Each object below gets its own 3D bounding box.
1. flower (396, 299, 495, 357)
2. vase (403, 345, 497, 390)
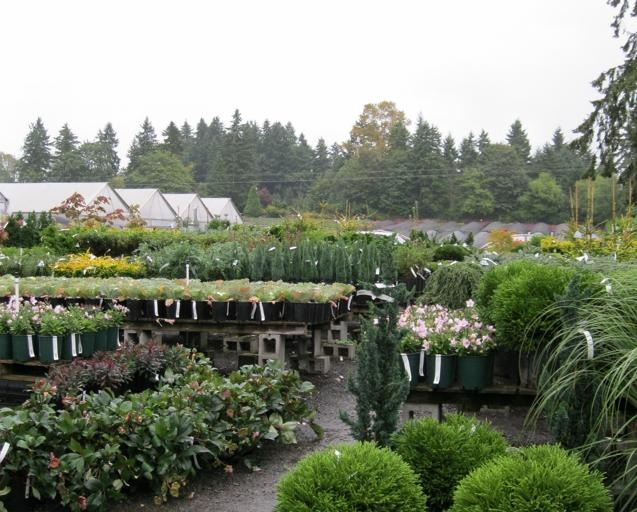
[{"bbox_3d":[1.079,0.618,5.323,0.589,0.270,0.547,2,5,3],"label":"flower"},{"bbox_3d":[1.031,0.903,4.948,0.397,0.158,0.479,0,-1,38],"label":"vase"}]
